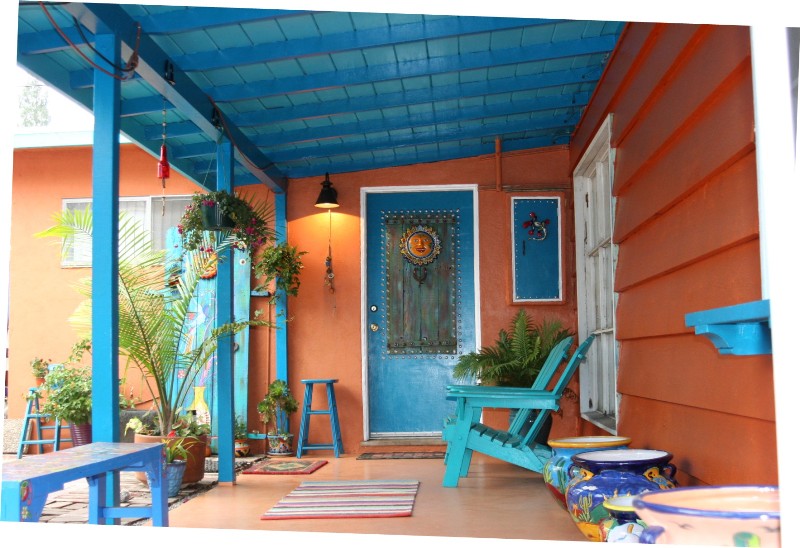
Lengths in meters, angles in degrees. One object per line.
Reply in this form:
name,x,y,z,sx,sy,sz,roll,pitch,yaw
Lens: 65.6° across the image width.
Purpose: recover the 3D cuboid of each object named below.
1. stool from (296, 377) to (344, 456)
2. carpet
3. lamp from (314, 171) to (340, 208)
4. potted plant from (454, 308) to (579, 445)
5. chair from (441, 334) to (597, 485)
stool,-0.914,1.607,7.031,0.539,0.841,0.420,0,-6,-11
carpet,-0.598,1.797,5.271,1.877,0.055,2.191,-2,-6,5
lamp,-0.845,-0.978,7.221,0.277,0.427,0.441,-1,-6,-7
potted plant,1.277,0.889,6.127,0.719,0.710,0.528,19,6,5
chair,0.906,1.172,5.552,1.359,1.413,1.204,0,-7,6
